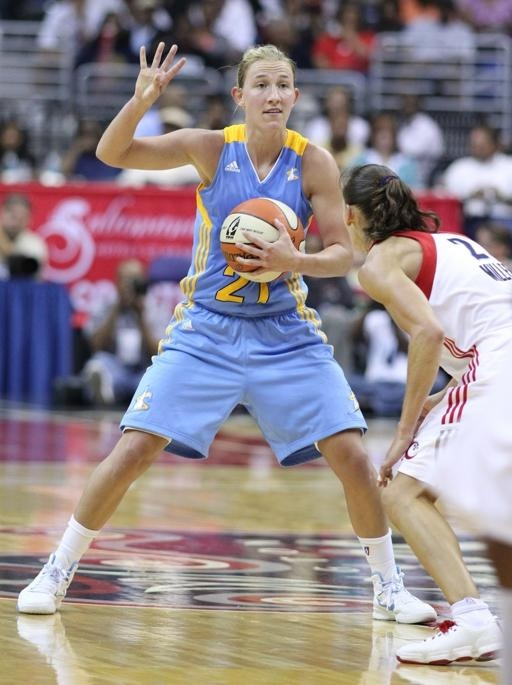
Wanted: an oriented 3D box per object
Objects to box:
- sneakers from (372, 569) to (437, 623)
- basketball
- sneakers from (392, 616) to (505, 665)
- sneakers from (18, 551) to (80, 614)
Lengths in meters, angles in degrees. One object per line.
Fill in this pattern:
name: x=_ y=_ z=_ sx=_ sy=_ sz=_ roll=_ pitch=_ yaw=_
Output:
sneakers: x=0.470 y=0.857 z=2.719 sx=0.114 sy=0.124 sz=0.232 roll=4 pitch=-11 yaw=-32
basketball: x=0.038 y=-0.351 z=2.885 sx=0.339 sy=0.312 sz=0.294 roll=-3 pitch=26 yaw=2
sneakers: x=0.516 y=0.789 z=2.180 sx=0.319 sy=0.108 sz=0.103 roll=-3 pitch=-7 yaw=13
sneakers: x=-0.689 y=0.809 z=2.708 sx=0.142 sy=0.185 sz=0.302 roll=1 pitch=9 yaw=5
